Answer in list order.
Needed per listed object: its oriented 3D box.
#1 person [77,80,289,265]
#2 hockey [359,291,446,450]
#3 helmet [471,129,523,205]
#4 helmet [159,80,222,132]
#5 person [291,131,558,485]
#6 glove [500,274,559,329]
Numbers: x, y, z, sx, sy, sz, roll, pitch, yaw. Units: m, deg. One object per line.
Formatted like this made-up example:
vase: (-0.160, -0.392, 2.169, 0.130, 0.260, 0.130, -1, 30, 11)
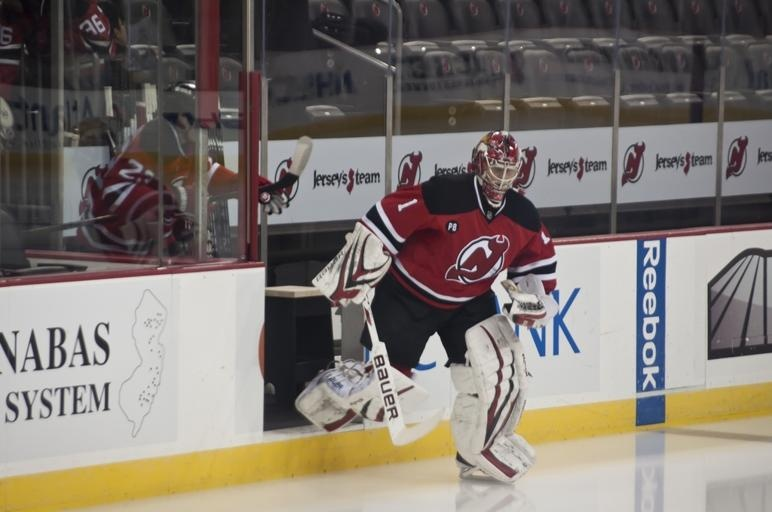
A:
person: (-1.151, -0.323, 9.071, 1.282, 1.360, 0.658, 1, 0, 14)
hockey: (-0.043, 0.621, 9.157, 0.301, 1.095, 0.337, -31, -22, 25)
helmet: (0.655, -0.547, 9.180, 0.295, 0.412, 0.405, 8, 14, -14)
helmet: (-1.125, -0.889, 9.135, 0.399, 0.351, 0.314, 5, 1, 36)
person: (0.331, 0.224, 9.290, 1.481, 2.033, 1.058, 11, 15, 8)
glove: (0.865, 0.275, 9.219, 0.224, 0.183, 0.388, -22, -27, 10)
